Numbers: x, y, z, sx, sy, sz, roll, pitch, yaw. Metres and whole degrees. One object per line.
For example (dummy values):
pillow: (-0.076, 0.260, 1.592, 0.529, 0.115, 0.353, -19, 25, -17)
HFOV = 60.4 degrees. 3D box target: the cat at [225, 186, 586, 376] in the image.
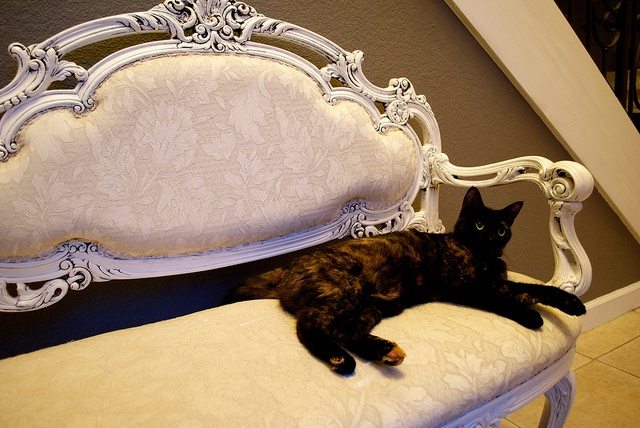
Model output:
cat: (0.296, 0.241, 1.854, 0.827, 0.328, 0.685, 6, 25, 6)
